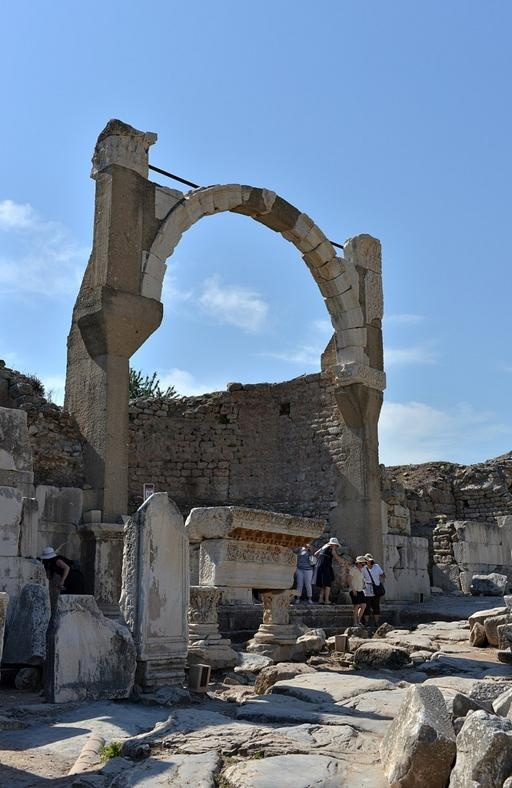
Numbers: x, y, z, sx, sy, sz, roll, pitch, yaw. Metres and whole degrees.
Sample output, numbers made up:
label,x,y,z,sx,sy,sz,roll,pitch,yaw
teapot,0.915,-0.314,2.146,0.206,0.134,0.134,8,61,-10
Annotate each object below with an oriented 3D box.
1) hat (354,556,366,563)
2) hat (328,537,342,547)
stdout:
label,x,y,z,sx,sy,sz,roll,pitch,yaw
hat,1.001,1.605,9.574,0.102,0.051,0.140,4,-6,-25
hat,0.843,1.573,10.675,0.148,0.068,0.162,2,-25,15
